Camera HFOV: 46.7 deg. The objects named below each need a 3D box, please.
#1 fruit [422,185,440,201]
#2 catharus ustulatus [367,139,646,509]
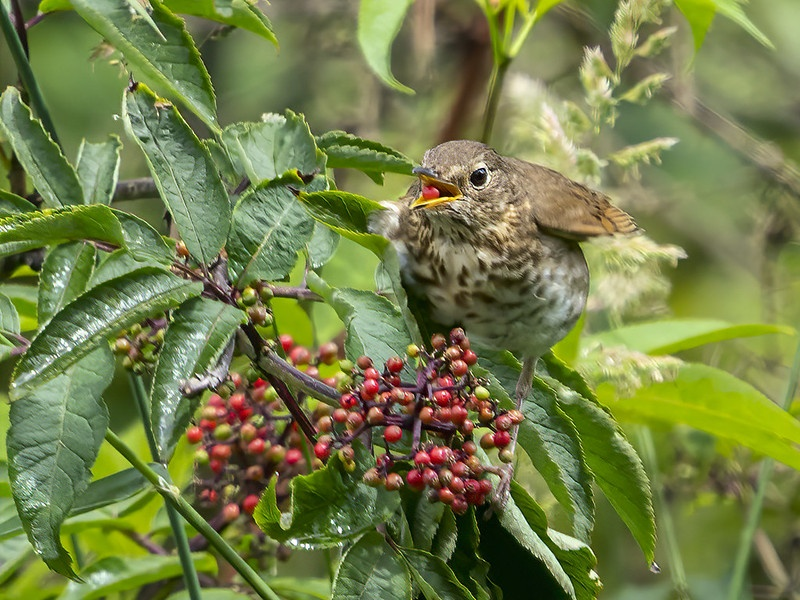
[{"bbox_3d":[0.070,-0.250,2.149,0.034,0.036,0.038,1,85,-2],"label":"fruit"},{"bbox_3d":[0.199,0.065,2.247,0.446,0.702,0.961,4,96,8],"label":"catharus ustulatus"}]
